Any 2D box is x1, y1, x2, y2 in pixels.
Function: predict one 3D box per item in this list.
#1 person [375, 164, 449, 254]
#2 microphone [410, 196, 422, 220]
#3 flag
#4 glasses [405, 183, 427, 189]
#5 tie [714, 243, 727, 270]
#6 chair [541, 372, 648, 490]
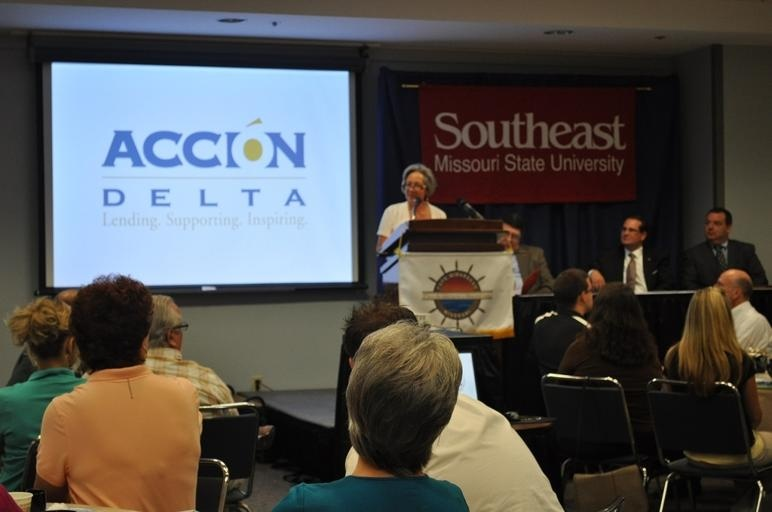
[{"bbox_3d":[0.193,-0.244,6.036,0.556,0.940,0.471,4,-13,10],"label":"person"},{"bbox_3d":[0.216,-0.358,5.853,0.064,0.244,0.072,8,21,-3],"label":"microphone"},{"bbox_3d":[0.383,0.219,4.509,0.516,0.395,0.028,0,-2,-13],"label":"flag"},{"bbox_3d":[0.236,-0.548,5.929,0.151,0.042,0.036,-3,-1,4],"label":"glasses"},{"bbox_3d":[3.275,-0.004,7.598,0.082,0.310,0.082,-2,-35,5],"label":"tie"},{"bbox_3d":[1.325,1.132,5.267,0.675,0.998,0.762,-5,-3,27],"label":"chair"}]
